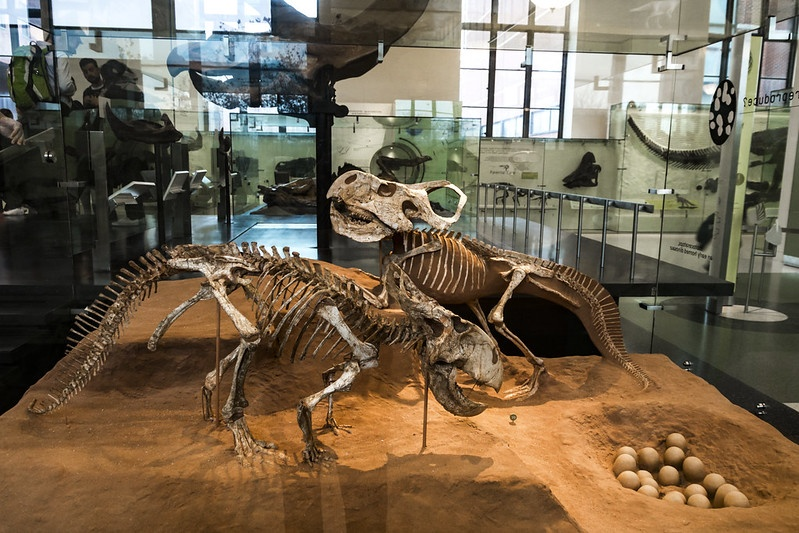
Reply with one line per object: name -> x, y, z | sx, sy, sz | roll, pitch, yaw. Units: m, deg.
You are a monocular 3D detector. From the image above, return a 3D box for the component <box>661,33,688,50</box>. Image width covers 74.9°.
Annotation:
component -> 2.387, -1.989, 4.612 | 0.165, 0.141, 0.038 | 0, 15, 6

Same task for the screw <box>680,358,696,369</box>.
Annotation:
screw -> 2.878, 0.985, 5.243 | 0.097, 0.034, 0.088 | -11, 52, 17

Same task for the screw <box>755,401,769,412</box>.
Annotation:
screw -> 3.174, 1.245, 4.620 | 0.080, 0.018, 0.077 | -14, 22, -28

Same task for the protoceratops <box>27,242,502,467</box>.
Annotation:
protoceratops -> -0.950, 0.642, 4.049 | 3.633, 1.396, 0.872 | 1, -4, -7

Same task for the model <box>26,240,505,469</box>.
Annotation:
model -> -0.934, 0.633, 4.051 | 3.632, 1.390, 0.823 | 0, -3, -9

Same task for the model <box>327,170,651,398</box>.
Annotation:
model -> 0.885, 0.218, 4.747 | 3.262, 1.578, 1.013 | 12, 9, -4

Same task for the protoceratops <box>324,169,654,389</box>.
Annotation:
protoceratops -> 0.880, 0.243, 4.712 | 3.244, 1.551, 1.048 | 12, 8, -4

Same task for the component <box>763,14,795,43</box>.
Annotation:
component -> 3.097, -1.941, 4.293 | 0.063, 0.213, 0.233 | -3, 18, -29

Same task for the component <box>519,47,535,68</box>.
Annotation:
component -> 1.126, -1.870, 4.646 | 0.133, 0.226, 0.126 | 2, 19, 1

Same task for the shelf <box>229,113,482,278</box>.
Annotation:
shelf -> 0.012, -0.760, 5.346 | 1.548, 0.895, 1.481 | 1, 13, -2

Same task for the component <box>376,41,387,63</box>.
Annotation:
component -> -0.156, -1.808, 4.373 | 0.057, 0.161, 0.148 | 0, 5, -5
